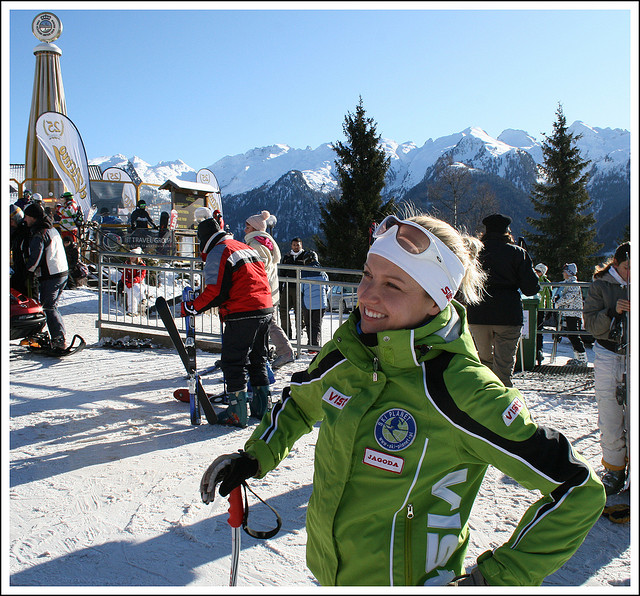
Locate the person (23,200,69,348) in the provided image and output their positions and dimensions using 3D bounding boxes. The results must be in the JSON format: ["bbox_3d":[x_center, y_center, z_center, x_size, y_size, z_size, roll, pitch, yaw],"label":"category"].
[{"bbox_3d":[-3.944,-0.320,8.665,0.591,2.063,0.483,-3,7,-37],"label":"person"}]

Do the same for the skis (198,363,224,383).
[{"bbox_3d":[-1.357,0.941,7.468,0.123,0.226,1.002,12,-19,-20],"label":"skis"}]

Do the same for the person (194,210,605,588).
[{"bbox_3d":[0.333,0.454,2.310,1.407,1.501,0.601,5,7,30],"label":"person"}]

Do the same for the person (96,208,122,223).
[{"bbox_3d":[-7.862,-3.081,22.410,0.653,0.540,1.750,-1,8,-19],"label":"person"}]

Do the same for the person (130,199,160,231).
[{"bbox_3d":[-5.495,-2.586,18.689,0.791,0.952,1.256,-1,7,-17],"label":"person"}]
